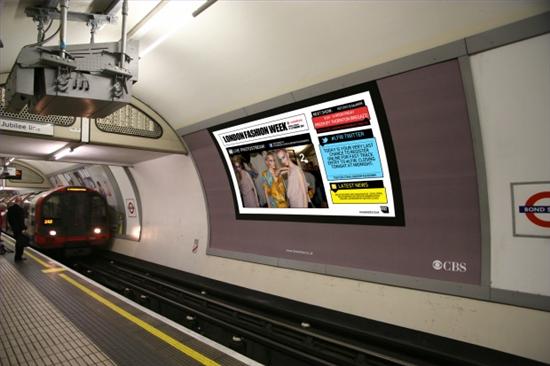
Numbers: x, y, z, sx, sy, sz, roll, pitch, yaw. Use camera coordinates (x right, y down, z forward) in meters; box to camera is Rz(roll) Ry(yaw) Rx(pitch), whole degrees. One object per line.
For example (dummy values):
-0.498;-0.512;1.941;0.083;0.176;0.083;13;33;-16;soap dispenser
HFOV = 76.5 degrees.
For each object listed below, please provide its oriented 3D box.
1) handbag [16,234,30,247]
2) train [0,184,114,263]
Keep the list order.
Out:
-7.427;1.691;10.203;0.305;0.382;0.394;3;1;-38;handbag
-8.623;1.450;14.361;1.848;2.346;7.379;2;-7;-40;train
